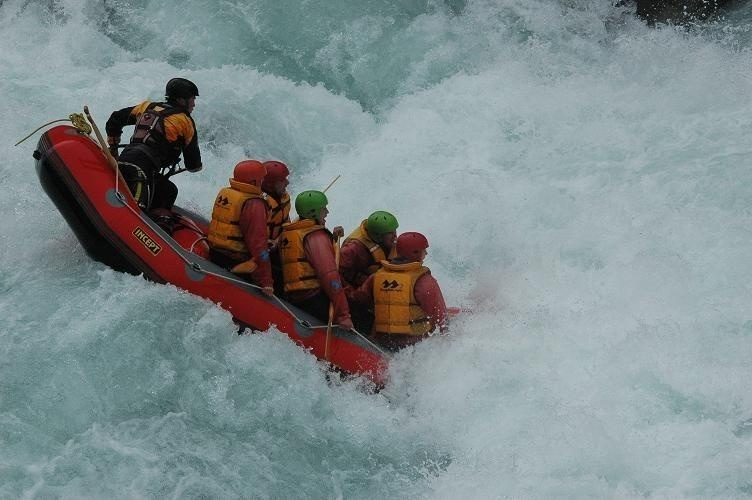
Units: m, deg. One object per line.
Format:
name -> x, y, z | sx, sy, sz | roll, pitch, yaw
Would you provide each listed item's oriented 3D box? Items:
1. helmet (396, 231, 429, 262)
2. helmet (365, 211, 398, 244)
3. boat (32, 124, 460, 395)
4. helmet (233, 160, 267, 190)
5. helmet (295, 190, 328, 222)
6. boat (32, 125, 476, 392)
helmet -> 0.465, -0.067, 13.519 | 0.465, 0.343, 0.410 | -17, -59, -20
helmet -> 0.023, -0.370, 13.754 | 0.489, 0.335, 0.374 | -13, -62, 6
boat -> -1.858, -0.350, 13.126 | 5.085, 2.748, 1.095 | 31, -83, -24
helmet -> -1.712, -1.044, 13.109 | 0.449, 0.340, 0.388 | -10, -67, -21
helmet -> -0.892, -0.637, 13.474 | 0.469, 0.340, 0.408 | -11, -54, -5
boat -> -1.699, -0.300, 13.190 | 5.271, 2.639, 1.226 | 32, -81, -23
